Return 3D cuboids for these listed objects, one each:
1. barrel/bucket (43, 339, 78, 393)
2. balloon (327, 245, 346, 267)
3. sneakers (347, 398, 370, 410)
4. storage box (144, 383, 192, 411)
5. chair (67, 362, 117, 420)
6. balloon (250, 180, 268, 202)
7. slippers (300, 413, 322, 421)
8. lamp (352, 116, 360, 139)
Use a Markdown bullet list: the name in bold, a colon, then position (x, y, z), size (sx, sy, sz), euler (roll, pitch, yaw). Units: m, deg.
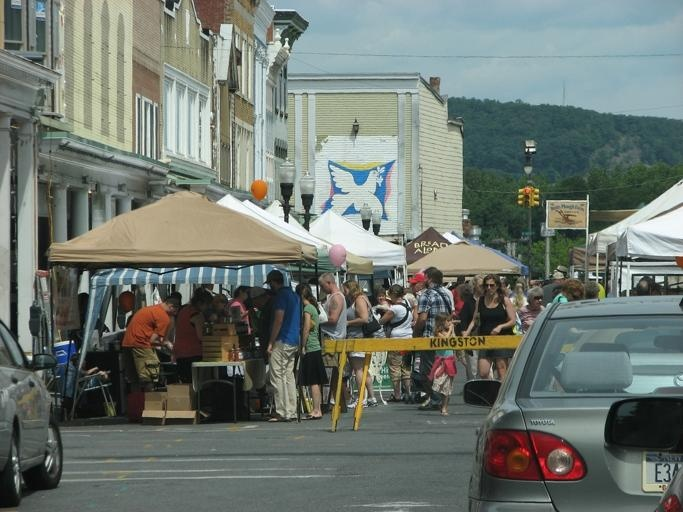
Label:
- **barrel/bucket**: position (-4.127, 1.661, 23.990), size (0.724, 0.857, 1.424), euler (1, -1, -9)
- **balloon**: position (-0.071, 0.006, 27.650), size (0.305, 0.343, 0.499), euler (-2, 1, -3)
- **sneakers**: position (0.273, 2.415, 26.139), size (0.418, 0.211, 0.146), euler (1, -2, -12)
- **storage box**: position (-2.513, 2.119, 23.879), size (0.442, 0.311, 0.468), euler (0, -3, 7)
- **chair**: position (-3.882, 2.172, 25.206), size (0.720, 1.120, 0.682), euler (1, -2, 6)
- **balloon**: position (-1.633, -1.307, 32.348), size (0.279, 0.435, 0.625), euler (-1, -3, -8)
- **slippers**: position (-0.455, 2.445, 24.457), size (0.269, 0.080, 0.112), euler (2, -4, 9)
- **lamp**: position (0.630, -5.743, 73.024), size (0.302, 0.871, 0.325), euler (-3, -3, 39)
